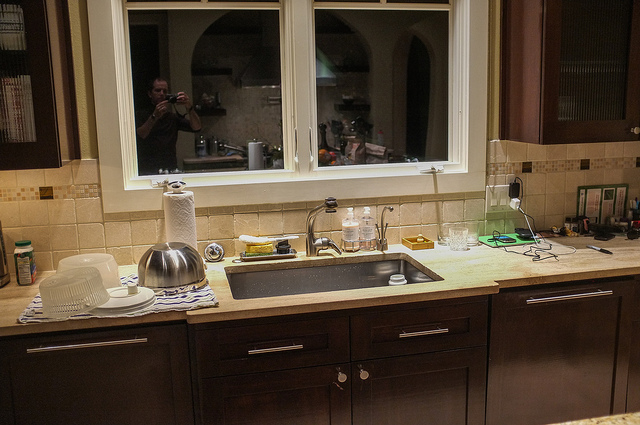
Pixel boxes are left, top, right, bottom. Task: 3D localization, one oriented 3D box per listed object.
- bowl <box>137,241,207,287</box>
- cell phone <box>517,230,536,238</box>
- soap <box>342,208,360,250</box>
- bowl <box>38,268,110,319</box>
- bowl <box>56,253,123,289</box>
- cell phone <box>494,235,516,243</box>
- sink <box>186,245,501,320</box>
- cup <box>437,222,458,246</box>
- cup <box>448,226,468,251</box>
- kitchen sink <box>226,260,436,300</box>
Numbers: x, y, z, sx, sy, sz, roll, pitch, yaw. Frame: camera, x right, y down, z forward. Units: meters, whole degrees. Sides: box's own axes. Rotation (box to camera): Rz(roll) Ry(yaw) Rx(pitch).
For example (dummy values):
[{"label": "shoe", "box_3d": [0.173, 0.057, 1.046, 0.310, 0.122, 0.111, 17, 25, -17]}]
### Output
[{"label": "bowl", "box_3d": [-0.784, 0.274, 2.771, 0.359, 0.185, 0.355, 2, 10, 0]}, {"label": "cell phone", "box_3d": [1.256, 0.132, 3.254, 0.085, 0.041, 0.061, -2, 9, 20]}, {"label": "soap", "box_3d": [0.186, 0.103, 3.168, 0.113, 0.264, 0.111, -2, 7, -3]}, {"label": "bowl", "box_3d": [-1.238, 0.414, 2.533, 0.313, 0.154, 0.314, -9, -5, -1]}, {"label": "bowl", "box_3d": [-1.129, 0.268, 2.673, 0.212, 0.110, 0.212, 0, 8, 0]}, {"label": "cell phone", "box_3d": [1.133, 0.165, 3.260, 0.125, 0.028, 0.111, -4, 8, 7]}, {"label": "sink", "box_3d": [0.090, 0.362, 2.871, 1.506, 0.239, 0.696, -6, 8, -7]}, {"label": "cup", "box_3d": [0.756, 0.129, 3.230, 0.126, 0.143, 0.125, 0, 6, 0]}, {"label": "cup", "box_3d": [0.804, 0.162, 3.181, 0.128, 0.137, 0.123, 1, 5, 0]}, {"label": "kitchen sink", "box_3d": [-0.037, 0.382, 3.043, 1.029, 0.280, 0.672, -2, 9, -9]}]
